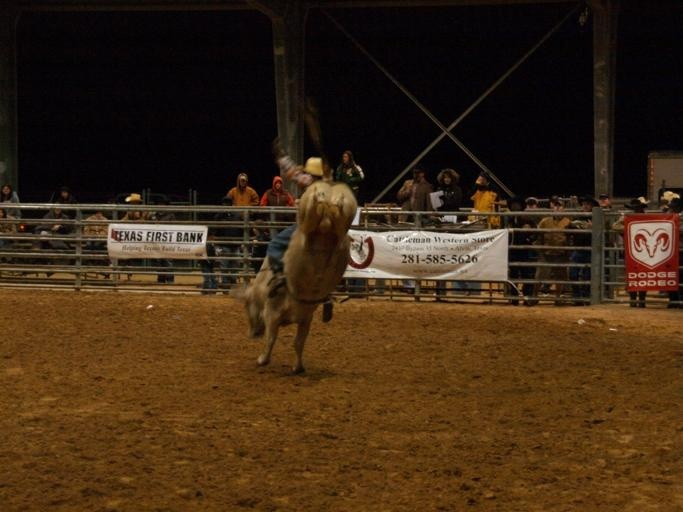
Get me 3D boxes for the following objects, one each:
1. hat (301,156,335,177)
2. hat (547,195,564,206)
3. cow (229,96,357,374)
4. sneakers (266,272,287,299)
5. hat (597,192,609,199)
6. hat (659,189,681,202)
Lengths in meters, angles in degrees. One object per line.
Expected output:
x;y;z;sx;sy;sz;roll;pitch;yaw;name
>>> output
-0.329;-1.156;11.483;0.358;0.122;0.358;4;9;5;hat
5.022;-1.260;20.567;0.267;0.191;0.393;-16;9;8;hat
-0.529;-0.094;11.694;1.072;3.830;1.943;-1;13;-15;cow
-0.867;0.410;11.968;0.120;0.384;0.215;20;-20;50;sneakers
7.006;-1.617;23.664;0.235;0.267;0.312;-6;2;4;hat
9.483;-1.709;25.274;0.665;0.283;0.447;2;-5;-3;hat
